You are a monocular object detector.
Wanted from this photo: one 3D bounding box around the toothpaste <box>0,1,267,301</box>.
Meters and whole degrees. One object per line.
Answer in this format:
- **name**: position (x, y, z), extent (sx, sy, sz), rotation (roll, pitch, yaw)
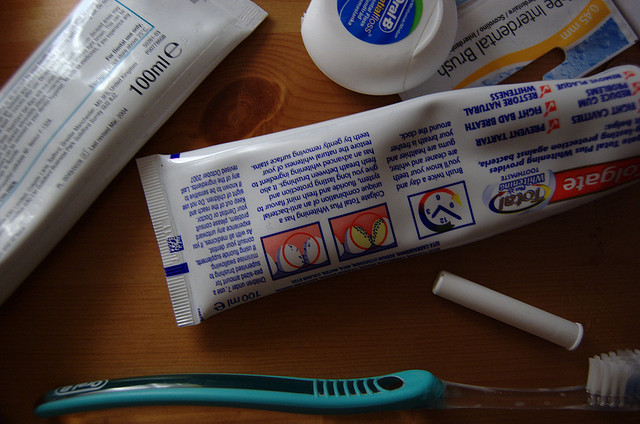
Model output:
- **toothpaste**: position (-0.327, -0.091, 0.844), extent (0.435, 0.228, 0.071), rotation (-51, 6, -5)
